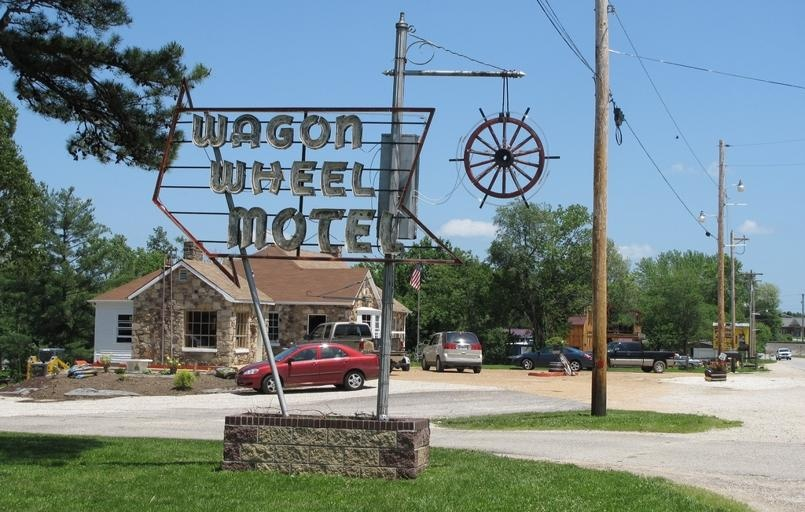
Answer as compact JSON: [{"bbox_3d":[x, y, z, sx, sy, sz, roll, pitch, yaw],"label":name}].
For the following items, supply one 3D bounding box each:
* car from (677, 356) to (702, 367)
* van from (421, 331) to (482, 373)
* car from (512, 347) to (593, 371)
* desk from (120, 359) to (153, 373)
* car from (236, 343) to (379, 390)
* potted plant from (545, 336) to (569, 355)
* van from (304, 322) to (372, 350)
[{"bbox_3d":[22.297,8.217,89.941,2.387,0.922,1.294,-3,-3,24],"label":"car"},{"bbox_3d":[2.813,5.216,63.081,2.238,2.356,3.517,2,-9,-20],"label":"van"},{"bbox_3d":[8.872,6.060,68.484,4.015,1.336,1.759,0,-4,27],"label":"car"},{"bbox_3d":[-13.585,5.637,59.458,1.289,0.879,3.480,1,-9,-13],"label":"desk"},{"bbox_3d":[-4.311,5.082,52.118,6.104,2.144,2.627,3,-6,-20],"label":"car"},{"bbox_3d":[10.921,6.321,81.926,1.386,1.048,1.465,0,-15,2],"label":"potted plant"},{"bbox_3d":[-3.188,3.845,57.269,2.480,1.303,1.503,1,-2,25],"label":"van"}]
